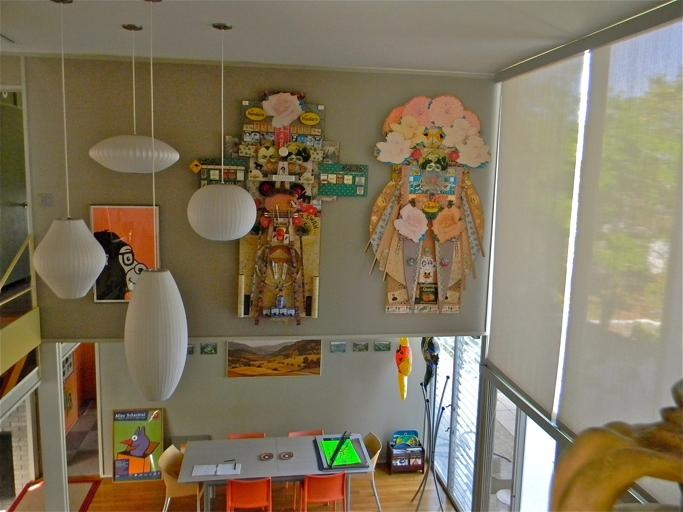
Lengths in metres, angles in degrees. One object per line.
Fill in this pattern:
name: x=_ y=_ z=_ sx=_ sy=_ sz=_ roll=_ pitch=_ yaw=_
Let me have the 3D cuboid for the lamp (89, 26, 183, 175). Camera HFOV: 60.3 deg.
lamp: x=-1.908 y=-1.435 z=5.440 sx=0.826 sy=1.380 sz=0.794 roll=-3 pitch=6 yaw=-41

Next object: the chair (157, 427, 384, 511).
chair: x=-0.792 y=2.597 z=7.067 sx=2.188 sy=0.629 sz=0.966 roll=1 pitch=1 yaw=-8

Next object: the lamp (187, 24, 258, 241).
lamp: x=-1.038 y=-1.031 z=5.256 sx=0.598 sy=1.802 sz=1.755 roll=0 pitch=1 yaw=-14

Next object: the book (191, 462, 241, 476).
book: x=-1.422 y=2.466 z=6.749 sx=0.537 sy=0.049 sz=0.287 roll=1 pitch=1 yaw=-7
